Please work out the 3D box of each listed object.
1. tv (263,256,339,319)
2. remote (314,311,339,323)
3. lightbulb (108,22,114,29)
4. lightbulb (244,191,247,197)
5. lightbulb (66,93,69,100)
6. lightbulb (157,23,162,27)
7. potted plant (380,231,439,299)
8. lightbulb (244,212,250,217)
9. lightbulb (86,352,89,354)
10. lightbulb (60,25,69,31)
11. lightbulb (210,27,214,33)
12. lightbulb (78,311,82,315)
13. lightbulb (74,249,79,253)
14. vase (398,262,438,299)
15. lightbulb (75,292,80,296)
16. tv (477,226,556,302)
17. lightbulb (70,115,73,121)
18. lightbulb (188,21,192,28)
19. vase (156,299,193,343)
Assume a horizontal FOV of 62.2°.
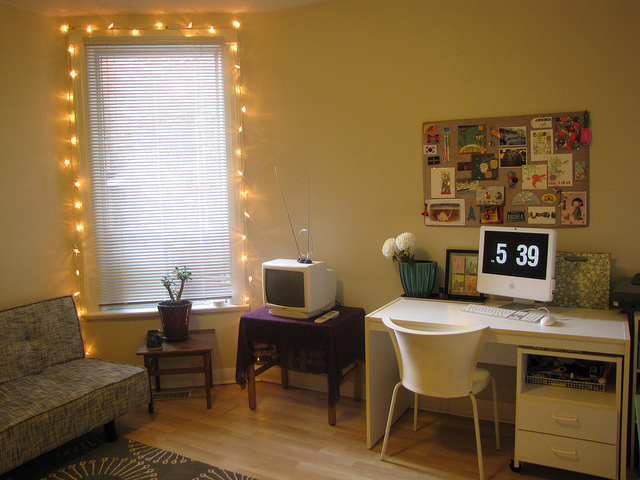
[{"bbox_3d":[-0.161,0.379,4.410,0.468,0.442,0.471,4,10,35],"label":"tv"},{"bbox_3d":[0.053,0.605,4.165,0.076,0.028,0.160,3,13,31],"label":"remote"},{"bbox_3d":[-1.796,-1.839,4.571,0.041,0.052,0.018,-1,7,-2],"label":"lightbulb"},{"bbox_3d":[-0.665,-0.409,4.735,0.035,0.035,0.019,1,3,-7],"label":"lightbulb"},{"bbox_3d":[-2.187,-1.249,4.611,0.017,0.031,0.032,1,4,3],"label":"lightbulb"},{"bbox_3d":[-1.382,-1.853,4.582,0.041,0.037,0.023,1,14,-1],"label":"lightbulb"},{"bbox_3d":[0.728,0.213,4.207,0.298,0.546,0.434,-20,-8,37],"label":"potted plant"},{"bbox_3d":[-0.653,-0.224,4.747,0.036,0.021,0.031,8,17,1],"label":"lightbulb"},{"bbox_3d":[-2.071,1.007,4.728,0.020,0.021,0.011,2,8,1],"label":"lightbulb"},{"bbox_3d":[-2.190,-1.815,4.554,0.052,0.052,0.028,1,4,-5],"label":"lightbulb"},{"bbox_3d":[-0.935,-1.814,4.596,0.032,0.047,0.022,-2,7,-8],"label":"lightbulb"},{"bbox_3d":[-2.121,0.648,4.693,0.036,0.037,0.020,1,-1,-13],"label":"lightbulb"},{"bbox_3d":[-2.139,0.098,4.669,0.027,0.027,0.015,1,1,4],"label":"lightbulb"},{"bbox_3d":[0.771,0.327,4.222,0.389,0.266,0.419,1,-3,-7],"label":"vase"},{"bbox_3d":[-2.147,0.480,4.691,0.036,0.021,0.034,-2,27,-1],"label":"lightbulb"},{"bbox_3d":[1.412,0.165,3.773,0.489,0.520,0.176,4,0,35],"label":"tv"},{"bbox_3d":[-2.159,-1.054,4.613,0.022,0.022,0.012,1,5,-1],"label":"lightbulb"},{"bbox_3d":[-1.124,-1.861,4.593,0.049,0.050,0.027,0,15,-5],"label":"lightbulb"},{"bbox_3d":[-1.251,0.704,4.587,0.312,0.319,0.293,-4,6,-40],"label":"vase"}]
